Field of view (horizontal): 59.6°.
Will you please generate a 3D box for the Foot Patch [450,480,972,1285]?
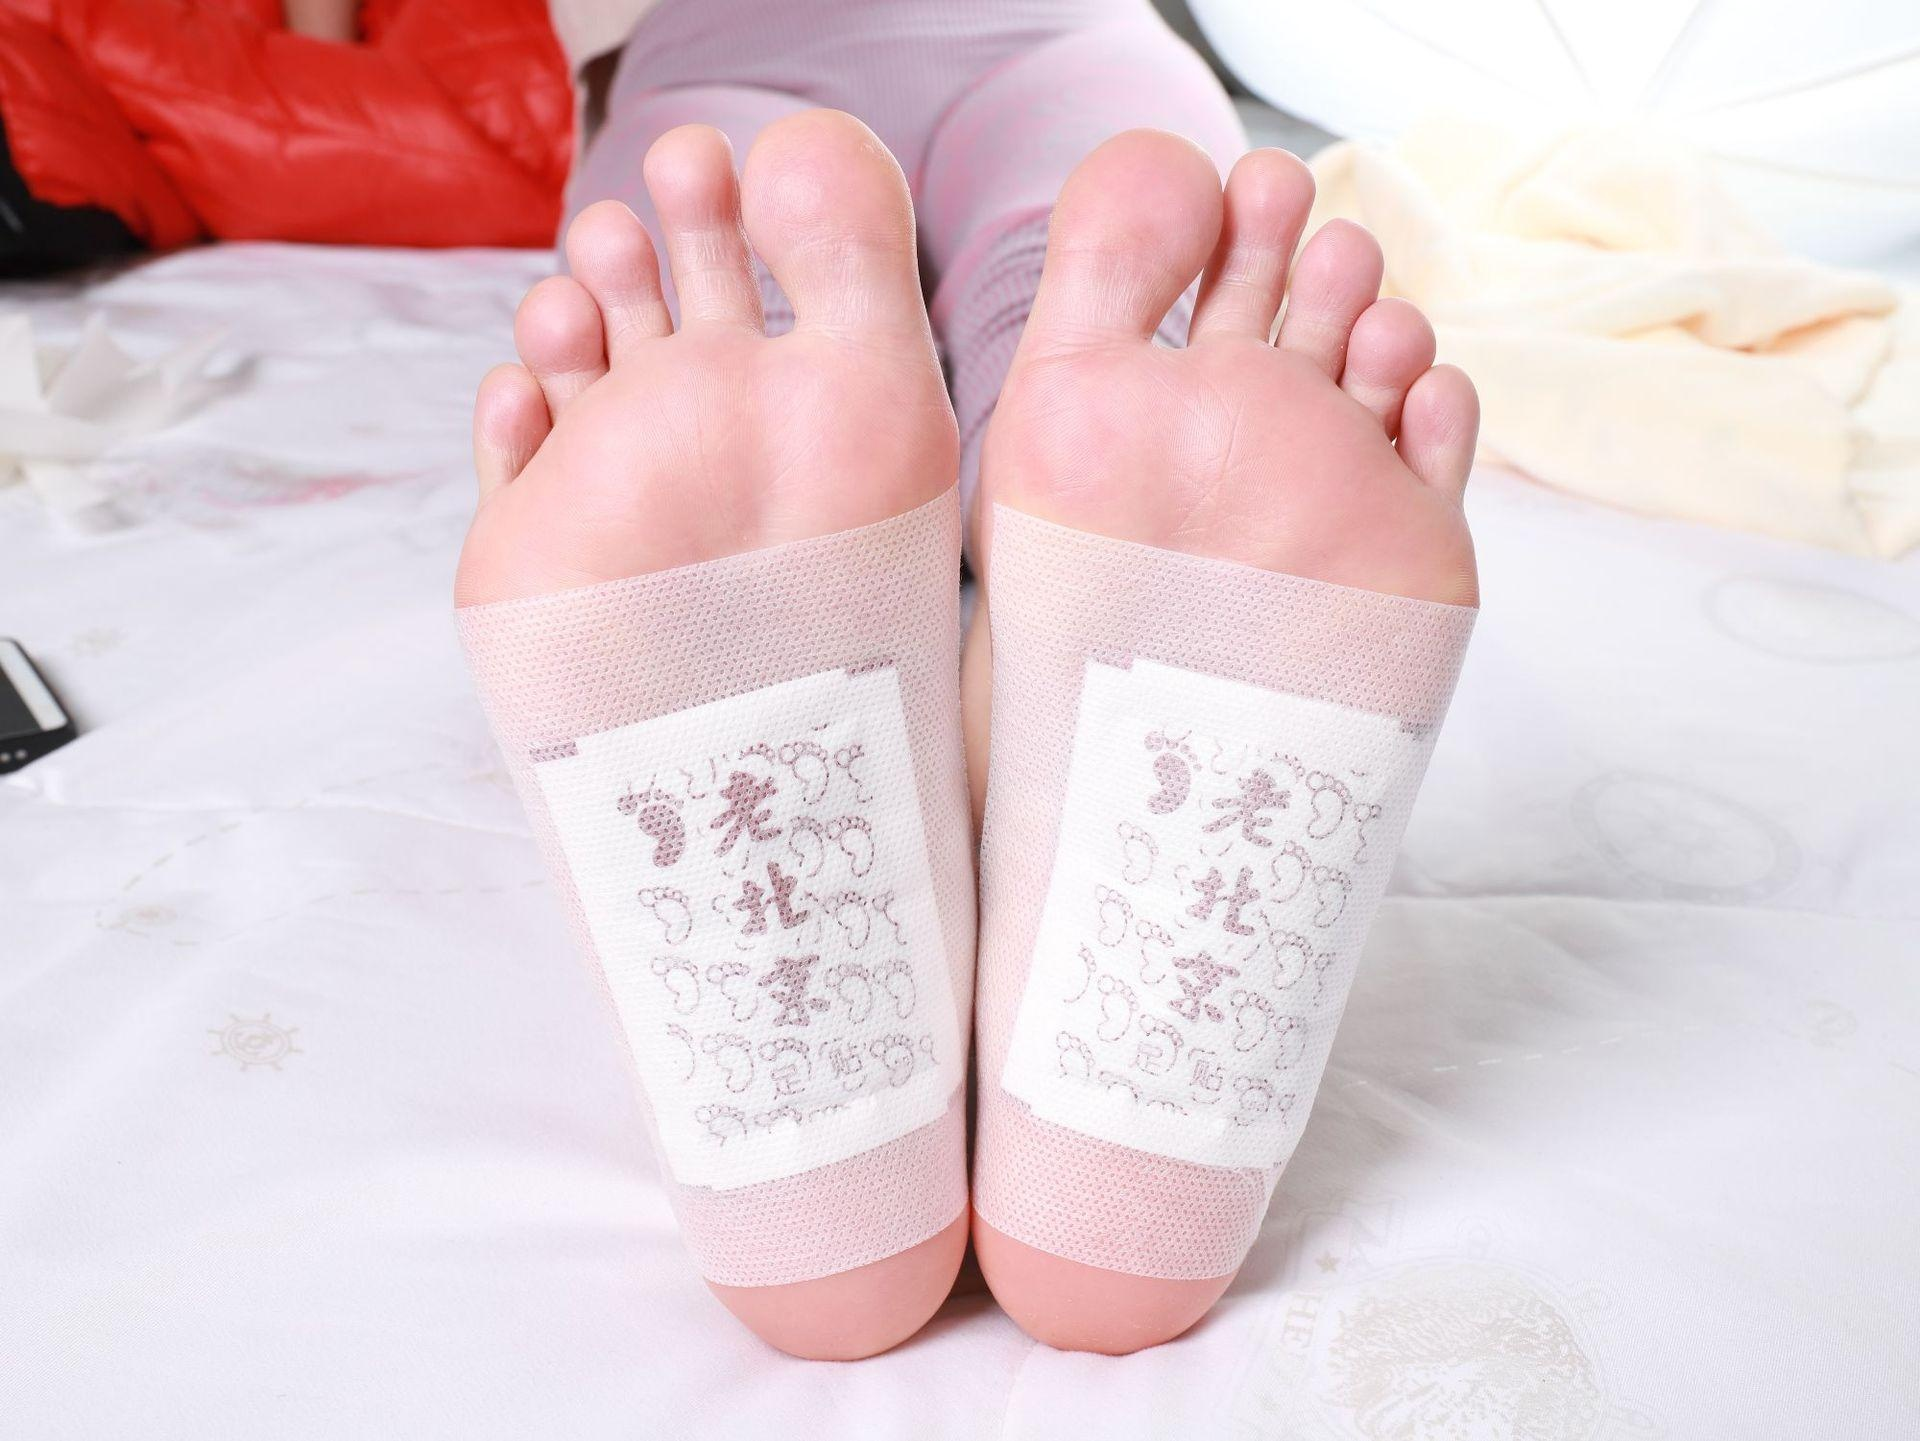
[{"bbox_3d":[-0.105,0.113,0.884,0.248,0.090,0.373,-6,32,-11],"label":"Foot Patch"}]
